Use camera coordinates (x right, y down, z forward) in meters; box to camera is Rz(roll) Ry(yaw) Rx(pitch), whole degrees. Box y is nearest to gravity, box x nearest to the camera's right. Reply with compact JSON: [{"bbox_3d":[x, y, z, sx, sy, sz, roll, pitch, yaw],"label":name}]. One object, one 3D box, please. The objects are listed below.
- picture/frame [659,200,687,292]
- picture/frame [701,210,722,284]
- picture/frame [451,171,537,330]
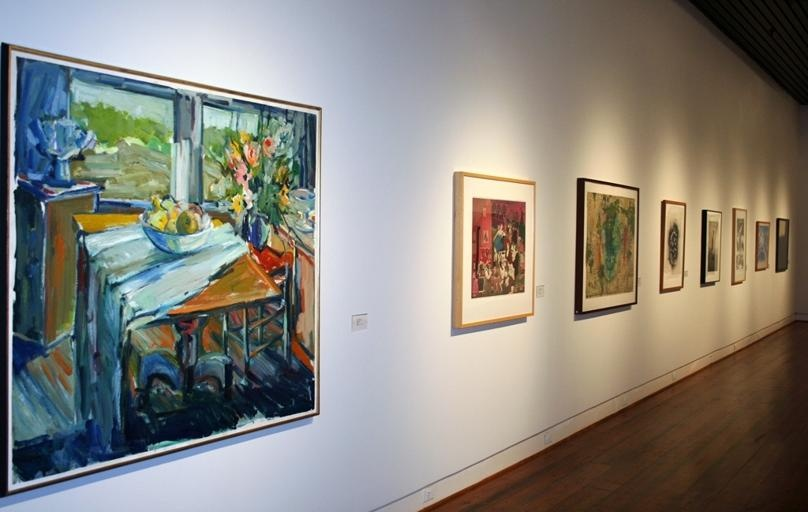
[{"bbox_3d":[4.748,-0.215,10.052,0.120,1.954,1.543,2,1,36],"label":"picture/frame"},{"bbox_3d":[6.299,-0.202,11.609,0.105,1.567,1.140,5,7,43],"label":"picture/frame"},{"bbox_3d":[1.085,-0.098,6.817,1.373,1.827,0.180,-5,7,-39],"label":"picture/frame"}]
